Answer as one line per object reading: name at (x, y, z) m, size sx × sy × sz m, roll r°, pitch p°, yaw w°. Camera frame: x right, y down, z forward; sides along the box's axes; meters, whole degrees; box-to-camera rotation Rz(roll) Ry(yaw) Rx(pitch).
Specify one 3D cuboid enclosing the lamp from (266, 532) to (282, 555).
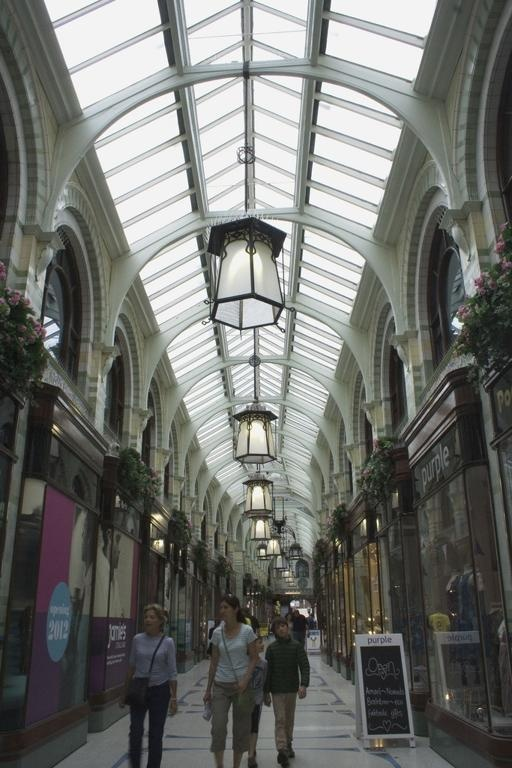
lamp at (0.886, 8.538, 25.235) m, size 0.644 × 1.110 × 2.469 m, roll -3°, pitch -24°, yaw 3°

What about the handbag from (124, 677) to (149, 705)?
handbag at (-0.760, 1.941, 3.008) m, size 0.210 × 0.150 × 0.099 m, roll -21°, pitch -28°, yaw 37°

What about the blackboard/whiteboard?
blackboard/whiteboard at (1.516, 3.657, 5.766) m, size 0.640 × 1.120 × 0.693 m, roll -6°, pitch -21°, yaw 11°
